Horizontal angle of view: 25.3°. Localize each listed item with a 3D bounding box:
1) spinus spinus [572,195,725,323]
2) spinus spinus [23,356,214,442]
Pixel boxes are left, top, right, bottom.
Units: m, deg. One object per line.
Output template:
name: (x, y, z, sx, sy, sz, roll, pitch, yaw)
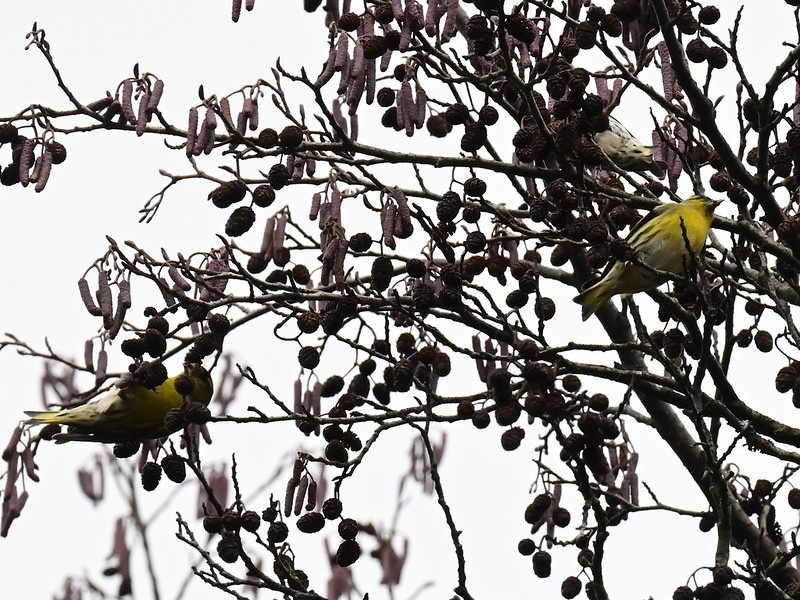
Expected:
spinus spinus: (1.565, -0.287, 11.228, 1.028, 0.661, 0.444, -27, -65, 18)
spinus spinus: (-1.864, 0.734, 12.090, 1.220, 0.422, 0.783, 7, -92, 3)
